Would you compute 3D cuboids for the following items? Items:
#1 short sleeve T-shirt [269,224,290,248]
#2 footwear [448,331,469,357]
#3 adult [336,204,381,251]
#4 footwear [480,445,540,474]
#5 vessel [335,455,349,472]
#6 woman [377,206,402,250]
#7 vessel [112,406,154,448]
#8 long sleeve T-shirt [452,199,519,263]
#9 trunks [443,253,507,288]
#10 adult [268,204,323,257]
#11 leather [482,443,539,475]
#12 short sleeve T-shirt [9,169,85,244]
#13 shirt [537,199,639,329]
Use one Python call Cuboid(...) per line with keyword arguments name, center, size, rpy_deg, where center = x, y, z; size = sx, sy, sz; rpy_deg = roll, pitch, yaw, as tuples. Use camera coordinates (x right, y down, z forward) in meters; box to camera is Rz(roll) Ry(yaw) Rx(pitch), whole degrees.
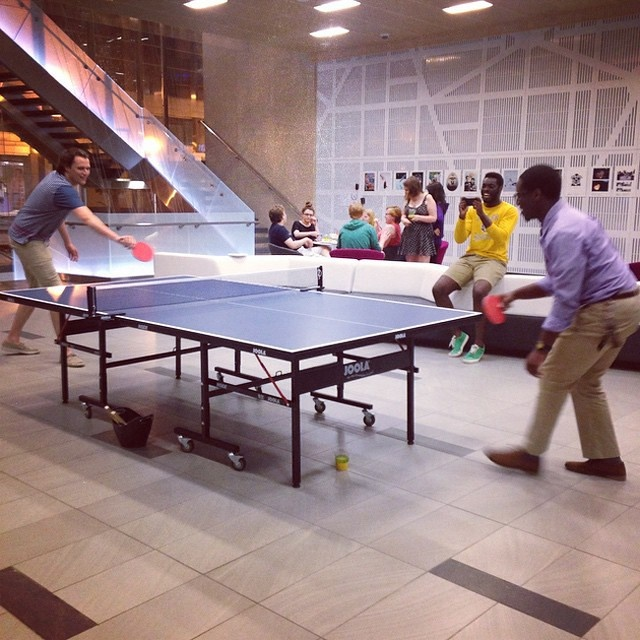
Cuboid(name="short sleeve T-shirt", center=(-0.505, -1.005, 6.817), size=(0.347, 0.302, 0.159), rpy_deg=(8, 13, 40))
Cuboid(name="footwear", center=(1.276, 0.221, 5.211), size=(0.157, 0.283, 0.120), rpy_deg=(0, 31, -2))
Cuboid(name="adult", center=(0.473, -1.043, 6.539), size=(0.575, 0.541, 0.395), rpy_deg=(5, 13, 31))
Cuboid(name="footwear", center=(0.905, 0.658, 2.786), size=(0.319, 0.108, 0.115), rpy_deg=(10, 10, 35))
Cuboid(name="vessel", center=(0.103, 0.698, 2.753), size=(0.082, 0.055, 0.072), rpy_deg=(-4, 10, -16))
Cuboid(name="woman", center=(0.892, -1.220, 7.486), size=(0.384, 0.514, 0.578), rpy_deg=(2, 23, 5))
Cuboid(name="vessel", center=(-0.987, 0.586, 3.091), size=(0.238, 0.149, 0.250), rpy_deg=(0, 3, -43))
Cuboid(name="long sleeve T-shirt", center=(1.479, -0.799, 5.059), size=(0.588, 0.548, 0.535), rpy_deg=(10, 3, -40))
Cuboid(name="trunks", center=(1.390, -0.428, 4.987), size=(0.378, 0.158, 0.426), rpy_deg=(12, 21, 35))
Cuboid(name="adult", center=(-0.279, -1.048, 6.908), size=(0.615, 0.598, 0.532), rpy_deg=(17, 11, 30))
Cuboid(name="leather", center=(0.949, 0.669, 2.739), size=(0.322, 0.109, 0.116), rpy_deg=(10, 7, 33))
Cuboid(name="short sleeve T-shirt", center=(-2.169, -0.880, 4.507), size=(0.804, 0.566, 0.341), rpy_deg=(7, 12, 36))
Cuboid(name="shirt", center=(1.084, -0.230, 2.374), size=(0.435, 0.540, 0.240), rpy_deg=(-5, 12, -27))
